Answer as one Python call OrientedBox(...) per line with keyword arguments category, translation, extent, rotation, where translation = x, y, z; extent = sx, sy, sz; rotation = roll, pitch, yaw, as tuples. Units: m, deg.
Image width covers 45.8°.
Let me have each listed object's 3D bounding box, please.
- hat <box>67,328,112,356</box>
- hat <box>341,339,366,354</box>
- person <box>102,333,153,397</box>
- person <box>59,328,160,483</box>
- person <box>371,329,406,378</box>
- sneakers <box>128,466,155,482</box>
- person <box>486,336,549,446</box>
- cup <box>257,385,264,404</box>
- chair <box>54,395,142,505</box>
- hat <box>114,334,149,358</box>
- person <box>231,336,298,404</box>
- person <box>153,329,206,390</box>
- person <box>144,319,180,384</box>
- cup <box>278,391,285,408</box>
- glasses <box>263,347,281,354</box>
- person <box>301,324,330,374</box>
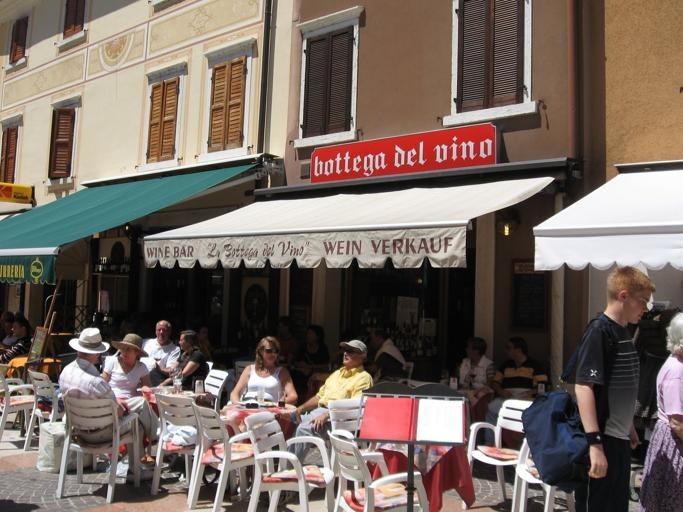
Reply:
OrientedBox(category="hat", translation=(-3.349, 1.135, 10.783), extent=(0.415, 0.189, 0.478), rotation=(15, 5, -10))
OrientedBox(category="hat", translation=(0.216, 1.273, 11.238), extent=(0.318, 0.111, 0.213), rotation=(17, -14, -35))
OrientedBox(category="person", translation=(-3.135, 1.625, 11.872), extent=(0.685, 0.946, 0.552), rotation=(2, -19, -5))
OrientedBox(category="person", translation=(-3.100, 1.985, 10.935), extent=(0.954, 2.111, 1.209), rotation=(-2, 7, 35))
OrientedBox(category="person", translation=(0.786, 1.635, 13.491), extent=(0.537, 0.806, 0.684), rotation=(0, -5, 4))
OrientedBox(category="sneakers", translation=(-2.683, 2.924, 10.894), extent=(0.402, 0.177, 0.143), rotation=(-1, 2, -38))
OrientedBox(category="person", translation=(2.377, 1.848, 10.945), extent=(0.970, 1.600, 0.894), rotation=(-16, -30, 38))
OrientedBox(category="cup", translation=(-1.144, 1.926, 11.213), extent=(0.131, 0.236, 0.128), rotation=(0, -1, 0))
OrientedBox(category="chair", translation=(-3.467, 2.478, 10.873), extent=(1.182, 1.740, 1.173), rotation=(0, 0, 12))
OrientedBox(category="hat", translation=(-3.044, 1.243, 11.570), extent=(0.377, 0.211, 0.395), rotation=(28, -2, 2))
OrientedBox(category="person", translation=(-1.071, 1.686, 11.445), extent=(0.922, 1.129, 0.847), rotation=(2, -11, 8))
OrientedBox(category="person", translation=(-2.503, 1.781, 12.685), extent=(0.759, 1.219, 0.544), rotation=(1, 0, -35))
OrientedBox(category="person", translation=(-3.048, 1.616, 13.595), extent=(0.583, 1.210, 0.663), rotation=(-2, -33, -2))
OrientedBox(category="cup", translation=(-0.846, 1.967, 10.991), extent=(0.093, 0.158, 0.097), rotation=(0, 4, 0))
OrientedBox(category="glasses", translation=(-0.996, 1.342, 11.493), extent=(0.226, 0.077, 0.093), rotation=(2, -6, -21))
OrientedBox(category="person", translation=(-0.472, 1.690, 14.573), extent=(0.661, 0.845, 0.564), rotation=(-6, -15, 31))
